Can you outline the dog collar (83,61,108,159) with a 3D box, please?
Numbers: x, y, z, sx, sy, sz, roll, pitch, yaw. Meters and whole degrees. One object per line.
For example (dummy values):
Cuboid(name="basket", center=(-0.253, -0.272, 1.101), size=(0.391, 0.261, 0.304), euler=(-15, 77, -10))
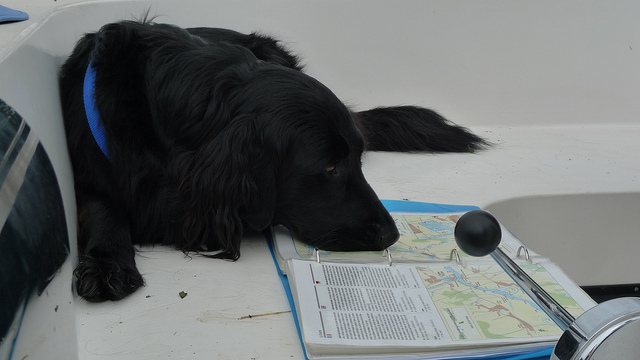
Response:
Cuboid(name="dog collar", center=(-0.879, -0.280, 1.841), size=(0.095, 0.342, 0.096), euler=(6, 2, 10))
